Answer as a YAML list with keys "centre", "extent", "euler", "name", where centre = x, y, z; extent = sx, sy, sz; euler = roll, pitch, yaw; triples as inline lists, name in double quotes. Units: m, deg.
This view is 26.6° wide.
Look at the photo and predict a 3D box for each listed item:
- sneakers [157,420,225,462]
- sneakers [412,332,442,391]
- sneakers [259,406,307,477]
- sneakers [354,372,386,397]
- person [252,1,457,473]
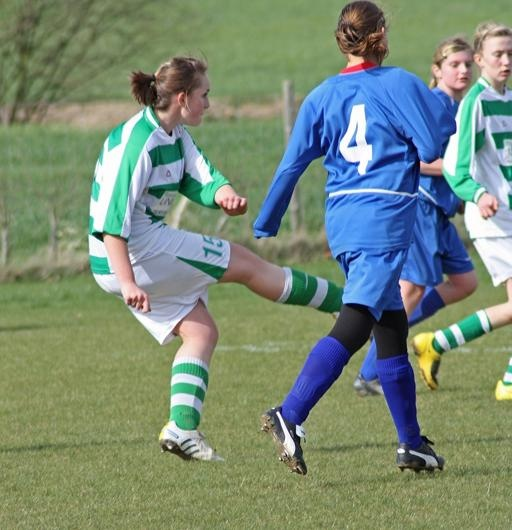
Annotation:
- centre: [-0.328, 0.831, 5.124]
  extent: [0.343, 0.158, 0.124]
  euler: [23, 22, -25]
  name: "sneakers"
- centre: [1.033, 0.549, 6.543]
  extent: [0.166, 0.397, 0.131]
  euler: [-17, 2, 12]
  name: "sneakers"
- centre: [0.122, 0.776, 4.766]
  extent: [0.183, 0.280, 0.145]
  euler: [-1, 6, -1]
  name: "sneakers"
- centre: [0.652, 0.719, 6.370]
  extent: [0.213, 0.111, 0.082]
  euler: [24, 7, -7]
  name: "sneakers"
- centre: [0.462, -0.112, 4.908]
  extent: [0.858, 2.157, 0.655]
  euler: [-1, 6, 5]
  name: "person"
